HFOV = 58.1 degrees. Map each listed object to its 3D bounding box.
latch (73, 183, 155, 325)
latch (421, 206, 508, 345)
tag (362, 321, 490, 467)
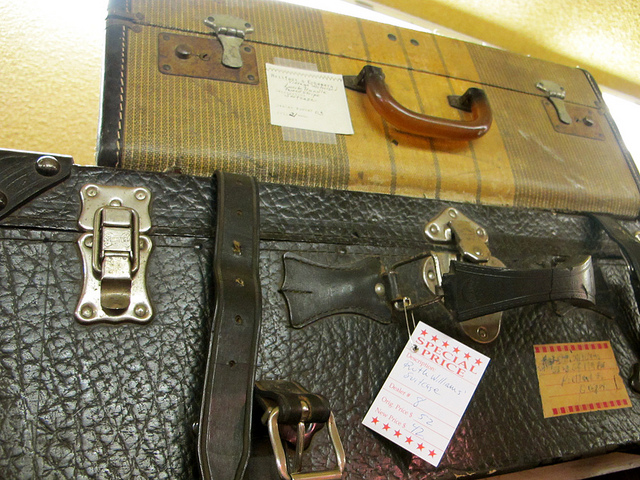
[{"bbox_3d":[-0.325,0.019,0.921,0.118,0.089,0.216,2,48,-19],"label":"latch"},{"bbox_3d":[0.264,0.072,1.064,0.168,0.165,0.164,25,30,24],"label":"latch"},{"bbox_3d":[0.176,0.267,0.973,0.153,0.024,0.220,29,62,4],"label":"tag"}]
